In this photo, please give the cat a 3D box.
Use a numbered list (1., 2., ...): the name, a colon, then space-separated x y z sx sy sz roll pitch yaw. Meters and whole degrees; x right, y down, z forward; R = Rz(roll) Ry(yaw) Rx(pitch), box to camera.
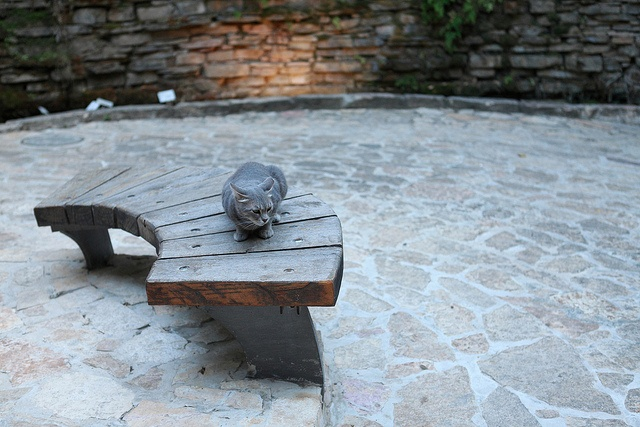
1. cat: -0.589 -0.103 5.708 0.499 0.417 0.781 -3 46 -8
